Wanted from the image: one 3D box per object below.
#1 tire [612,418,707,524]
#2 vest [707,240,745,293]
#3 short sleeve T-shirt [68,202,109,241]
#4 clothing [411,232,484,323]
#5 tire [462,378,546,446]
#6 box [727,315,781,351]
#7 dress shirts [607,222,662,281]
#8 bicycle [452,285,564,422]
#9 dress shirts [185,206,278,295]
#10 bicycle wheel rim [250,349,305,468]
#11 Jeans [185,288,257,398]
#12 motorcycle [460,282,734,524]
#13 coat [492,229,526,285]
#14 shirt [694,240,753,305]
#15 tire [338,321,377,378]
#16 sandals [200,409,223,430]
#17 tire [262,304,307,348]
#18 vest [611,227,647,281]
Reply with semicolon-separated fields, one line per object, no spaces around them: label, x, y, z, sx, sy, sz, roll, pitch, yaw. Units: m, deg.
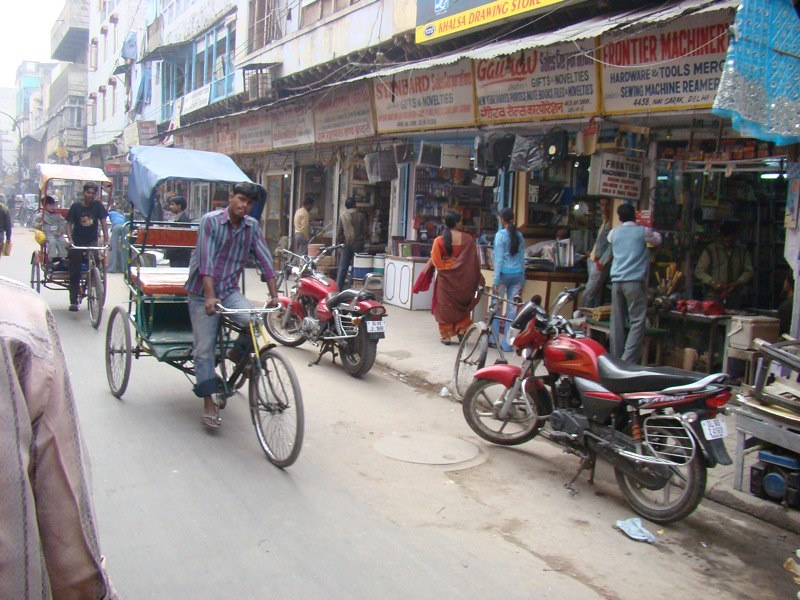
tire;1.825;1.176;4.607;0.339;0.764;0.616;-1;10;-22
vest;4.211;-0.447;8.482;0.605;0.686;0.370;0;-10;4
short sleeve T-shirt;-4.692;-1.174;9.784;0.327;0.775;0.655;5;5;44
clothing;0.822;-0.386;9.463;0.818;1.722;0.519;6;32;14
tire;0.902;0.938;5.758;0.730;0.784;0.160;8;32;16
box;3.816;0.387;7.147;0.416;0.429;0.610;2;-4;-40
dress shirts;2.768;-0.524;7.825;0.579;0.734;0.474;-1;-10;43
bicycle;1.098;0.499;7.195;0.938;1.066;1.640;2;0;-36
dress shirts;-1.569;-0.347;5.936;0.831;1.058;0.697;1;4;-41
bicycle wheel rim;-0.964;0.817;5.164;0.258;0.878;0.853;-2;11;-28
Jeans;-1.538;0.389;5.583;0.509;0.878;0.496;0;10;-19
motorcycle;1.783;0.707;5.598;1.126;1.554;2.518;0;10;-37
coat;1.513;-0.591;9.164;0.537;0.759;0.293;-1;3;-29
shirt;4.267;-0.138;8.667;0.649;1.391;0.437;0;7;6
tire;-0.551;0.625;7.752;0.411;0.454;0.140;27;32;23
sandals;-1.616;1.023;5.683;0.156;0.191;0.205;7;-12;-34
tire;-1.457;0.315;8.363;0.492;0.523;0.113;11;24;36
vest;2.670;-0.568;7.733;0.472;0.694;0.309;8;11;28
